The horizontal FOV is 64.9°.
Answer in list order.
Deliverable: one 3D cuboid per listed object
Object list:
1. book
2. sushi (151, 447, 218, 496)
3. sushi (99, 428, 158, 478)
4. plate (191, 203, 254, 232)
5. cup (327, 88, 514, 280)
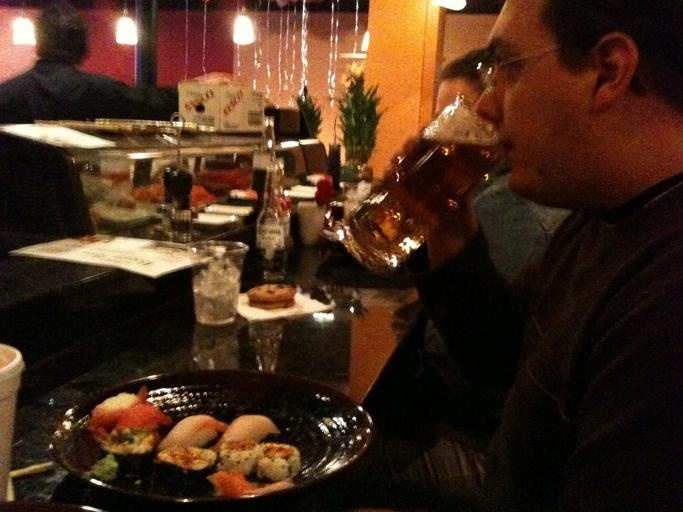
[{"bbox_3d":[-0.728,0.000,1.691,0.662,0.031,0.540,5,11,13],"label":"book"},{"bbox_3d":[-0.250,0.338,0.861,0.099,0.025,0.095,-1,13,-11],"label":"sushi"},{"bbox_3d":[-0.339,0.315,0.870,0.067,0.042,0.067,2,0,-11],"label":"sushi"},{"bbox_3d":[-0.560,-0.183,2.554,0.238,0.069,0.413,2,13,-1],"label":"plate"},{"bbox_3d":[0.170,-0.137,1.167,0.241,0.400,0.236,2,12,0],"label":"cup"}]
